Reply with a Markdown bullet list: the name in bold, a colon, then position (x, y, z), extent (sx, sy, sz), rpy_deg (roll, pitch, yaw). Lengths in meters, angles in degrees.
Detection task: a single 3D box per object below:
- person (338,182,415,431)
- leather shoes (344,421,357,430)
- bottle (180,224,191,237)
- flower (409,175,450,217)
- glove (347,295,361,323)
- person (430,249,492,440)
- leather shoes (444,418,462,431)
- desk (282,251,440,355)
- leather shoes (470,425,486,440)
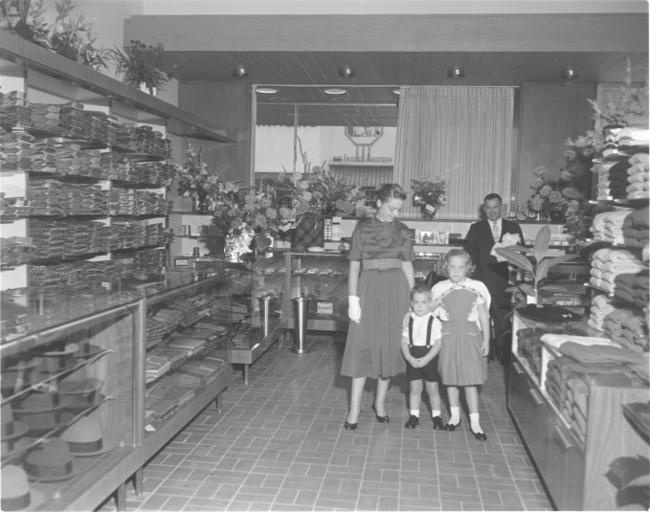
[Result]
- **person**: position (0.429, 0.401, 4.737), extent (0.625, 1.932, 0.377), rpy_deg (-2, 8, -3)
- **leather shoes**: position (0.206, 1.347, 4.709), extent (0.109, 0.057, 0.122), rpy_deg (-1, 8, 0)
- **bottle**: position (-1.928, -0.341, 8.221), extent (0.205, 0.231, 0.128), rpy_deg (0, 3, -6)
- **flower**: position (1.578, -0.870, 8.931), extent (0.525, 0.600, 0.586), rpy_deg (0, 8, 7)
- **glove**: position (0.241, 0.424, 4.687), extent (0.093, 0.213, 0.081), rpy_deg (-2, 8, -8)
- **person**: position (1.066, 0.674, 4.663), extent (0.448, 1.448, 0.424), rpy_deg (1, 8, 15)
- **leather shoes**: position (1.022, 1.361, 4.720), extent (0.051, 0.061, 0.153), rpy_deg (-4, -7, 23)
- **desk**: position (0.307, 0.445, 5.842), extent (1.092, 0.952, 0.393), rpy_deg (1, 10, 3)
- **leather shoes**: position (1.208, 1.374, 4.582), extent (0.121, 0.067, 0.174), rpy_deg (-2, 8, -3)
